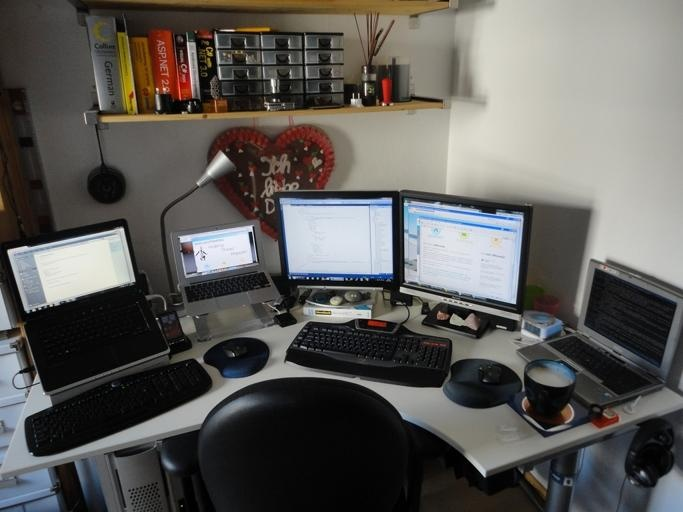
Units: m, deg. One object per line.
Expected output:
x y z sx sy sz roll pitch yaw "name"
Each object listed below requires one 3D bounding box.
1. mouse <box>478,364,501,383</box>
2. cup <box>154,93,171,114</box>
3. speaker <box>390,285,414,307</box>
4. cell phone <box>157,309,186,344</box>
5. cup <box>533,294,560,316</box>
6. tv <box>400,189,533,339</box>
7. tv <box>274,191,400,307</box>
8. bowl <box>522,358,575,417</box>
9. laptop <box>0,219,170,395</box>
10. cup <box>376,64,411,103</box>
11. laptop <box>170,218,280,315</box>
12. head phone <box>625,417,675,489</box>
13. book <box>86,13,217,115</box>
0.530 0.419 1.825 0.060 0.059 0.061 2 -1 15 "mouse"
-0.697 -0.599 2.011 0.060 0.076 0.034 -8 20 -17 "cup"
0.271 0.184 2.325 0.161 0.083 0.157 -1 -3 19 "speaker"
-0.684 0.284 2.062 0.092 0.129 0.045 -20 3 -30 "cell phone"
0.873 0.204 2.176 0.088 0.067 0.090 -1 21 0 "cup"
0.505 0.042 2.078 0.512 0.518 0.184 12 25 31 "tv"
-0.010 -0.048 2.201 0.550 0.462 0.059 0 26 1 "tv"
0.679 0.439 1.661 0.146 0.148 0.200 5 12 17 "bowl"
-0.976 0.186 1.957 0.591 0.647 0.470 -20 36 -34 "laptop"
0.243 -0.819 2.410 0.156 0.171 0.157 -3 17 1 "cup"
-0.519 0.047 2.207 0.496 0.299 0.392 -11 43 -21 "laptop"
1.028 0.656 1.699 0.140 0.219 0.096 -14 23 -31 "head phone"
-0.727 -0.750 2.030 0.451 0.355 0.179 -6 20 -12 "book"
